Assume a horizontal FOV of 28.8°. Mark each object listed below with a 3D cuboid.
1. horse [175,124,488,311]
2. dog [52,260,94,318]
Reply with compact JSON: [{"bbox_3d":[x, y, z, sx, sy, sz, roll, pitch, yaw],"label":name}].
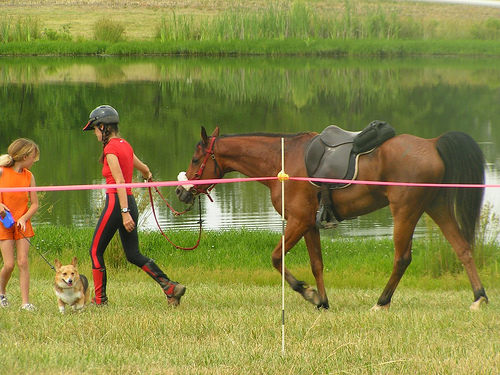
[{"bbox_3d":[1.754,0.749,21.030,6.374,4.422,1.698,-3,8,9],"label":"horse"},{"bbox_3d":[-3.607,2.007,19.847,0.465,1.090,0.715,9,15,40],"label":"dog"}]
